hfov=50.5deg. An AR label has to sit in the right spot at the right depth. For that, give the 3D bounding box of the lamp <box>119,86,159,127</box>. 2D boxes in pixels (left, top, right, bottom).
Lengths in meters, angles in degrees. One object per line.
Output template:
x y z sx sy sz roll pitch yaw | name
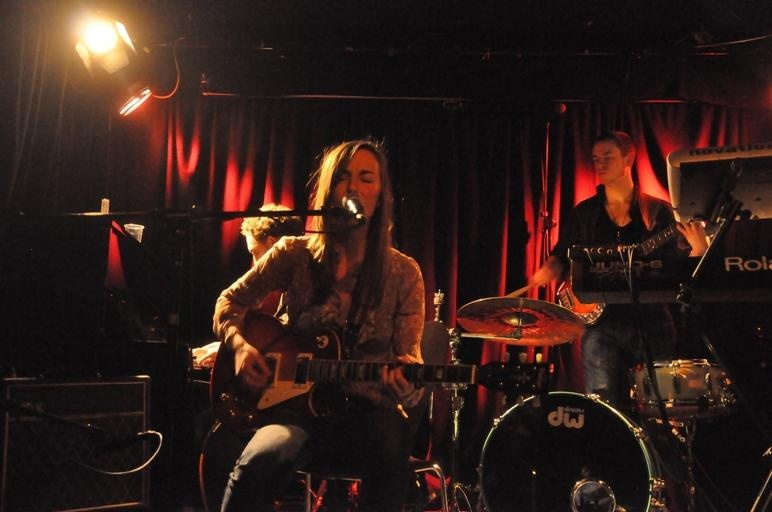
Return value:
-2.162 -1.301 7.063 0.293 0.066 0.265 -34 6 -39 | lamp

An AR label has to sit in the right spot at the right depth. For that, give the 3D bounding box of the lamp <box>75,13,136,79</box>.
-2.251 -1.705 6.609 0.406 0.415 0.413 -18 25 -3 | lamp

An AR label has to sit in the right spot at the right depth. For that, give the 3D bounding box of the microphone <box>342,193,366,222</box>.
-0.210 -0.292 5.052 0.106 0.162 0.149 4 -4 -34 | microphone

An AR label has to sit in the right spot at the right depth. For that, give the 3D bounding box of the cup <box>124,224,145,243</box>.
-1.964 -0.197 6.371 0.192 0.144 0.186 2 15 -1 | cup

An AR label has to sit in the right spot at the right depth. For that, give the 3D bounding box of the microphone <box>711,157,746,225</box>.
2.044 -0.366 4.857 0.103 0.332 0.199 -21 53 -28 | microphone
